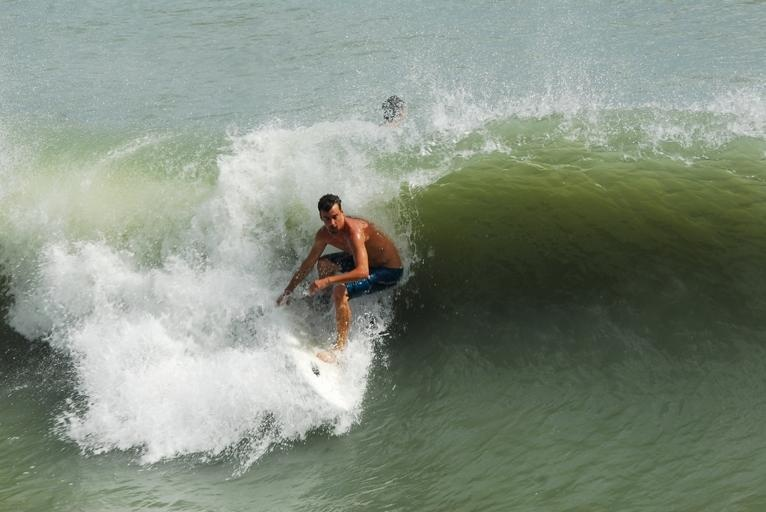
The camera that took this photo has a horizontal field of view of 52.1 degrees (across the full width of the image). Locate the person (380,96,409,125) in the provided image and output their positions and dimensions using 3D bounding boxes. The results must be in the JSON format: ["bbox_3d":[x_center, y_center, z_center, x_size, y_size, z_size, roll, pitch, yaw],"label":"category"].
[{"bbox_3d":[0.229,-2.721,14.924,0.442,0.526,0.747,10,73,7],"label":"person"}]
